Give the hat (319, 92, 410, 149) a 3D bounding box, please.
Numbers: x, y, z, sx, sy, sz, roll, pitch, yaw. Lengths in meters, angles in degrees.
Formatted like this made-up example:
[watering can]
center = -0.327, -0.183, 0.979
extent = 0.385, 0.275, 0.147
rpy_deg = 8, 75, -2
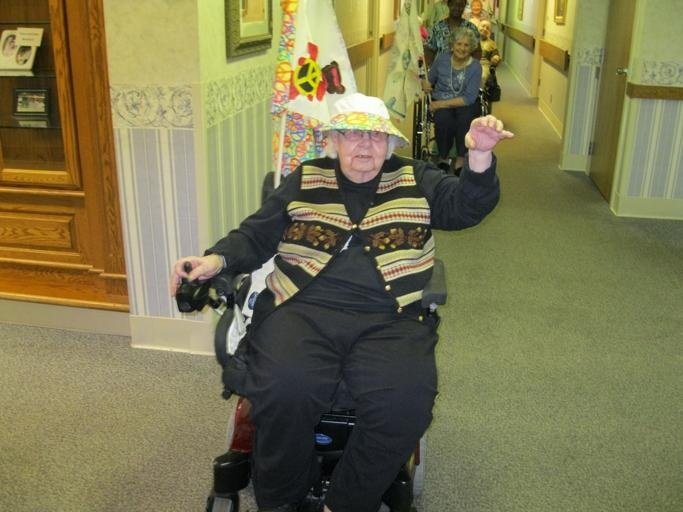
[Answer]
[hat]
center = 0.063, -0.534, 2.115
extent = 0.253, 0.121, 0.240
rpy_deg = 9, 8, 35
